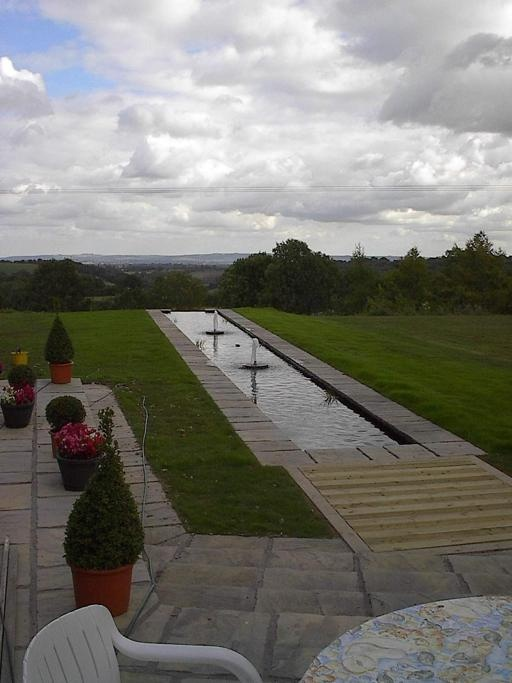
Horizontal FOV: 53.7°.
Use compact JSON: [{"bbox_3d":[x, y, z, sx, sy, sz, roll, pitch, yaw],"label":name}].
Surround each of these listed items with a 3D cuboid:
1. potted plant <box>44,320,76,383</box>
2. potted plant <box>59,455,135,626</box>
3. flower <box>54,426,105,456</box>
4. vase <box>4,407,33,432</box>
[{"bbox_3d":[-4.366,0.181,11.278,0.594,1.531,0.768,-1,8,-20],"label":"potted plant"},{"bbox_3d":[-0.987,1.237,3.276,0.477,0.986,0.458,2,8,-1],"label":"potted plant"},{"bbox_3d":[-1.961,1.128,5.656,0.471,0.358,0.455,-1,8,-19],"label":"flower"},{"bbox_3d":[-3.696,1.176,7.912,0.422,0.280,0.408,3,4,25],"label":"vase"}]
